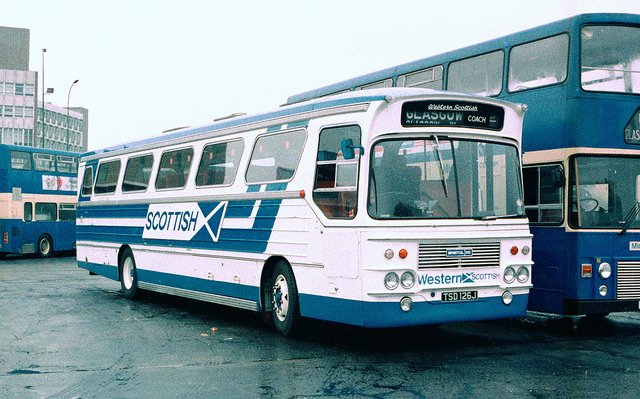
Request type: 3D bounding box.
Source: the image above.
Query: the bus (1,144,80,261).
[{"bbox_3d":[-15.972,0.032,30.120,1.106,5.921,3.951,0,-1,37],"label":"bus"}]

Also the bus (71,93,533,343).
[{"bbox_3d":[-2.653,0.287,14.097,4.302,4.152,14.113,1,-2,-35],"label":"bus"}]
